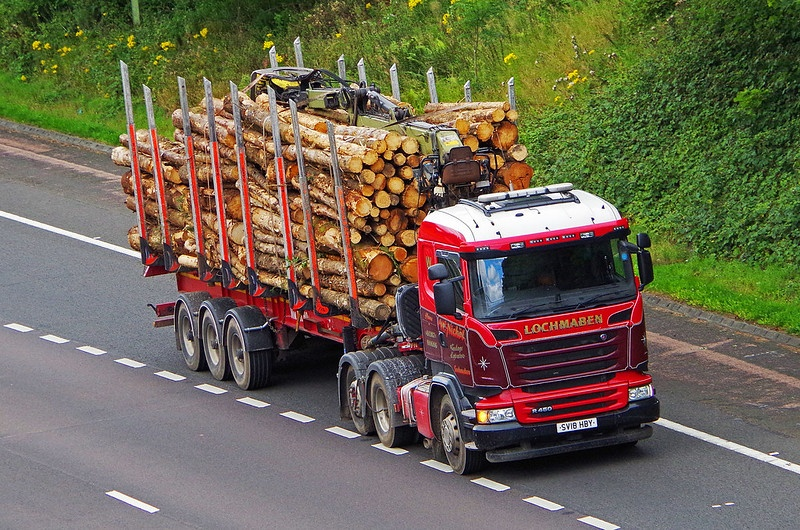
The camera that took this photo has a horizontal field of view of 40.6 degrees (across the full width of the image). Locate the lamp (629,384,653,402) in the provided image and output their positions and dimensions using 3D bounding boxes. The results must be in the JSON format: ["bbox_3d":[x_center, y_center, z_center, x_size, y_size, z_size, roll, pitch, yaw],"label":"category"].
[{"bbox_3d":[3.847,2.029,17.119,0.321,0.123,0.232,-4,1,-5],"label":"lamp"}]

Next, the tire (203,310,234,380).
[{"bbox_3d":[-3.712,1.656,21.600,0.292,1.152,1.160,-8,31,-23],"label":"tire"}]

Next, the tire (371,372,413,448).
[{"bbox_3d":[-0.089,2.402,18.198,0.359,1.141,1.151,-9,-5,-25],"label":"tire"}]

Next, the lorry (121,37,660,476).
[{"bbox_3d":[0.941,-0.293,20.153,5.106,6.690,13.814,-11,15,-37],"label":"lorry"}]

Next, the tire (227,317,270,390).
[{"bbox_3d":[-2.997,1.734,21.416,0.583,1.581,1.600,-7,-3,-23],"label":"tire"}]
